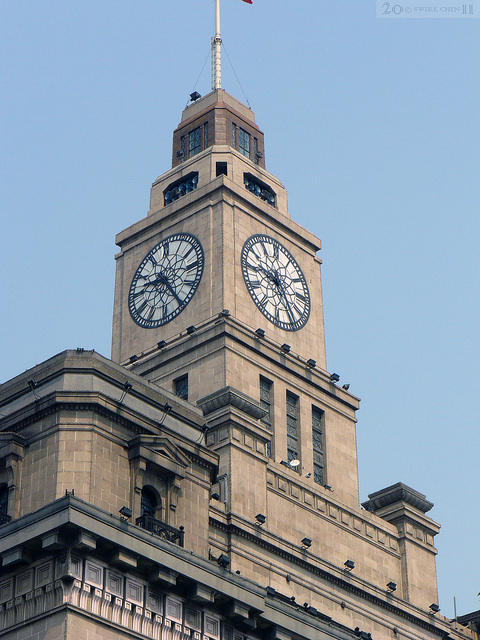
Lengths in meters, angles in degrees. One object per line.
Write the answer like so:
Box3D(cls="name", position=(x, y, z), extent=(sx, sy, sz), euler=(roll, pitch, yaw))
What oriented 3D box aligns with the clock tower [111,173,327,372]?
Box3D(cls="clock tower", position=(-1.272, -1.387, 117.275), extent=(11.069, 12.851, 12.376), euler=(5, -27, -11))
